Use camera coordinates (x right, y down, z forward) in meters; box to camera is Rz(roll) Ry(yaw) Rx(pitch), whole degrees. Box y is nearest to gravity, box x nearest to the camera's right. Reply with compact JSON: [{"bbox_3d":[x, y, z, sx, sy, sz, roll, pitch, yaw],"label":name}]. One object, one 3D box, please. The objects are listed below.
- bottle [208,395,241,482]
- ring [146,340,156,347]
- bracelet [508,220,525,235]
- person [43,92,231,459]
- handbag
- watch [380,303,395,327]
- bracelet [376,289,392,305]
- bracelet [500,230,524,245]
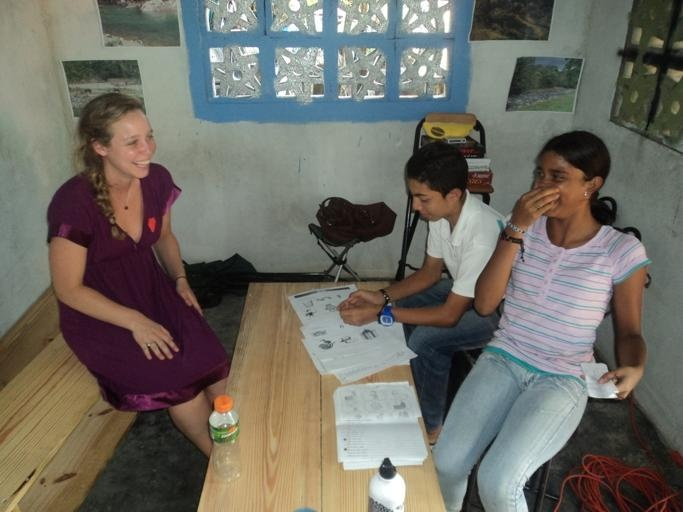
[{"bbox_3d":[-0.450,0.669,1.875,0.122,0.315,0.191,-8,27,-15],"label":"bottle"},{"bbox_3d":[-0.932,0.432,2.402,0.037,0.033,0.020,-1,26,-2],"label":"ring"},{"bbox_3d":[0.819,-0.125,2.290,0.060,0.017,0.057,-1,30,-37],"label":"bracelet"},{"bbox_3d":[-1.048,0.104,2.439,0.697,1.610,0.828,-16,30,-28],"label":"person"},{"bbox_3d":[0.099,-0.248,3.598,0.470,0.134,0.358,1,57,-4],"label":"handbag"},{"bbox_3d":[0.234,0.318,2.592,0.069,0.106,0.099,4,45,0],"label":"watch"},{"bbox_3d":[0.240,0.230,2.755,0.081,0.031,0.060,58,30,10],"label":"bracelet"},{"bbox_3d":[0.805,-0.074,2.306,0.074,0.029,0.073,16,4,-38],"label":"bracelet"}]
